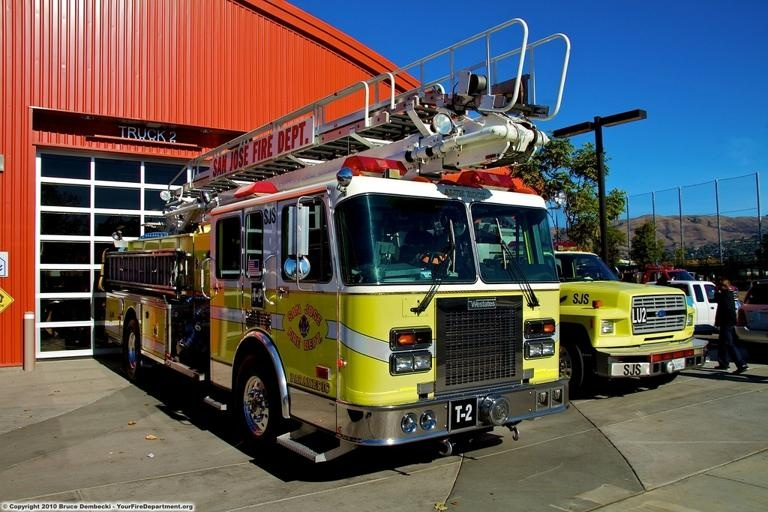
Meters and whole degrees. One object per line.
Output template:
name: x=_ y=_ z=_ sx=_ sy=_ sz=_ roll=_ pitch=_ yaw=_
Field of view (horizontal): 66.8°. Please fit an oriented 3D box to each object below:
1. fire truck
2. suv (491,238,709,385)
fire truck: x=-2.353 y=-0.050 z=12.954 sx=4.784 sy=5.827 sz=13.617 roll=9 pitch=-7 yaw=-35
suv: x=3.834 y=1.185 z=13.194 sx=3.461 sy=2.527 sz=5.488 roll=-2 pitch=3 yaw=-33
